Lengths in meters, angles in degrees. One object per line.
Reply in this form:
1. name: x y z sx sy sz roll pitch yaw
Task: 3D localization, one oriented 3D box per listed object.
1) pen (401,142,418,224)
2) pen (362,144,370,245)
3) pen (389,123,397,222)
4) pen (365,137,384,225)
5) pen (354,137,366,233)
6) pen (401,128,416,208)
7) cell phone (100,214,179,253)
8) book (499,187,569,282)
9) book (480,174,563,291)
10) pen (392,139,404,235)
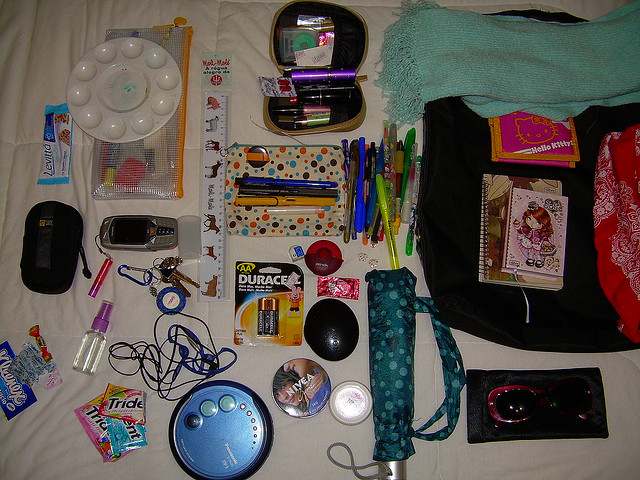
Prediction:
1. pen: 0.312 -0.202 2.032 0.035 0.035 0.301 12 89 8
2. pen: 0.167 -0.155 2.001 0.025 0.027 0.350 3 86 16
3. pen: 0.250 -0.243 2.004 0.031 0.032 0.310 0 83 -1
4. pen: 0.189 -0.179 1.981 0.038 0.036 0.365 8 81 -9
5. pen: 0.137 -0.184 1.974 0.033 0.036 0.323 1 84 -8
6. pen: 0.312 -0.256 2.028 0.037 0.029 0.291 10 80 -10
7. cell phone: -0.615 -0.024 1.952 0.229 0.062 0.126 1 83 1
8. book: 0.727 -0.024 1.933 0.219 0.080 0.325 7 84 0
9. book: 0.602 -0.024 1.838 0.270 0.068 0.405 3 85 4
10. pen: 0.275 -0.190 2.011 0.028 0.033 0.351 3 95 10
